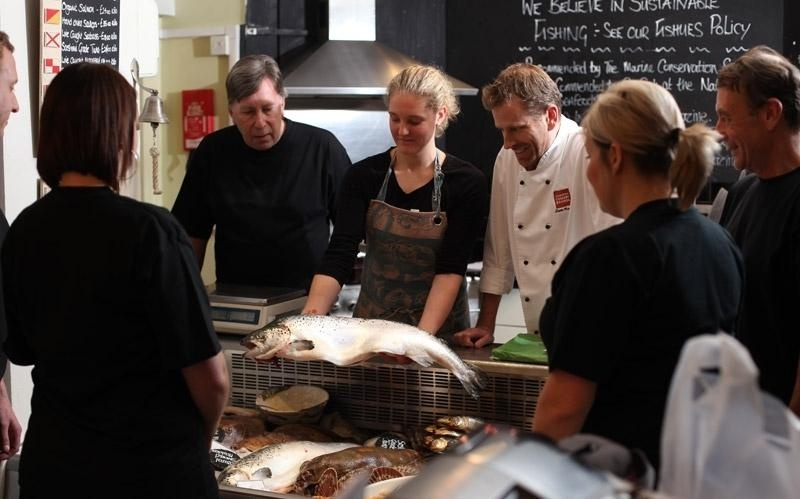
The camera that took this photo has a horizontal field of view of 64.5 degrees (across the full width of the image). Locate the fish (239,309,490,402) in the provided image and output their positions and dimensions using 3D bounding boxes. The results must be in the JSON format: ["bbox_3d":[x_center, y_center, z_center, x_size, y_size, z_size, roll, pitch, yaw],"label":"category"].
[{"bbox_3d":[-0.134,0.353,2.048,0.818,0.146,0.243,2,40,3],"label":"fish"}]

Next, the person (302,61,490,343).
[{"bbox_3d":[0.012,-0.171,2.429,0.624,1.038,0.529,3,13,7],"label":"person"}]

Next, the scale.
[{"bbox_3d":[-0.509,0.214,2.470,0.410,0.141,0.386,-2,12,44],"label":"scale"}]

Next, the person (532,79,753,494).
[{"bbox_3d":[0.563,0.057,1.496,0.431,0.888,0.315,7,14,21],"label":"person"}]
